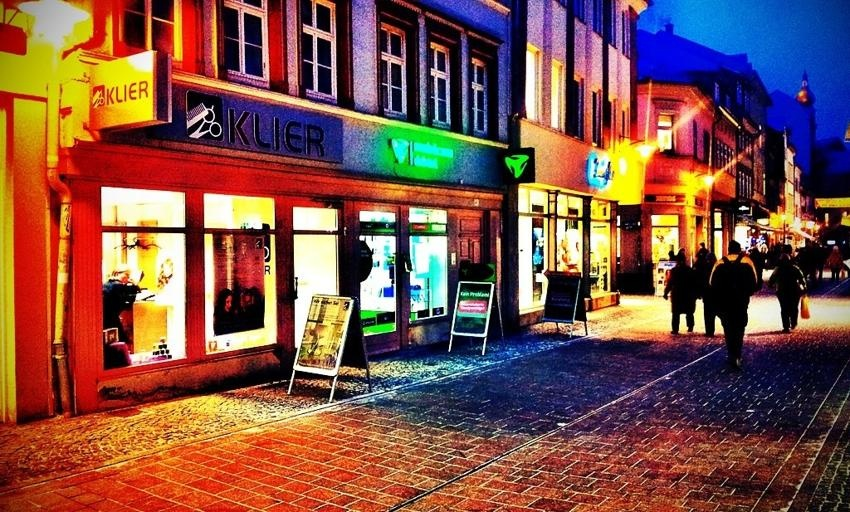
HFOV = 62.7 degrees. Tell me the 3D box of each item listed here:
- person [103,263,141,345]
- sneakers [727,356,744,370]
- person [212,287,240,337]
[{"bbox_3d":[-5.695,0.917,13.070,0.736,1.416,0.216,-9,14,-34],"label":"person"},{"bbox_3d":[6.695,2.301,15.016,0.266,0.271,0.296,-3,-2,33],"label":"sneakers"},{"bbox_3d":[-4.073,1.130,14.128,0.531,0.893,0.194,-8,14,-32],"label":"person"}]
